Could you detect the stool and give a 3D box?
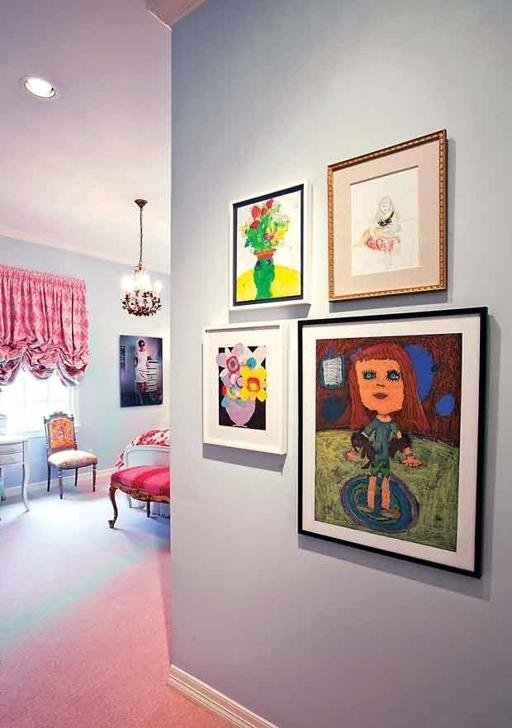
[{"bbox_3d":[-0.893,1.031,4.073,0.398,0.420,0.546,5,-6,-35],"label":"stool"}]

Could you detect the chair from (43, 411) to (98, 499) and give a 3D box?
[{"bbox_3d":[-1.796,0.859,5.089,0.429,0.774,0.463,0,1,-27],"label":"chair"}]
